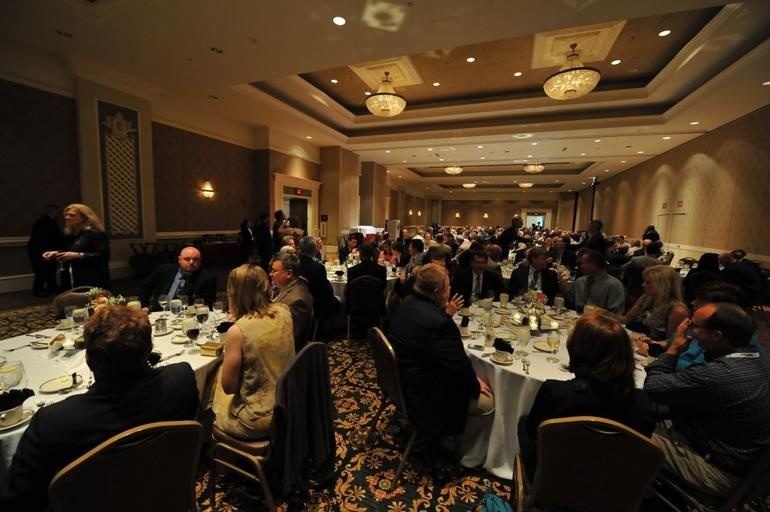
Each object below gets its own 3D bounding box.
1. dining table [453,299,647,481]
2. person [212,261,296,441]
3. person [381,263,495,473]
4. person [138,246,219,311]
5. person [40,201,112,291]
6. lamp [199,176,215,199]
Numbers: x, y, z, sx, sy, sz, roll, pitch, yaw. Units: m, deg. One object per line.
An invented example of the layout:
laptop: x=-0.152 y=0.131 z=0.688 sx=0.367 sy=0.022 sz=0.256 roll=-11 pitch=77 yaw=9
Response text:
dining table: x=1.353 y=1.426 z=4.388 sx=1.733 sy=0.946 sz=1.866 roll=3 pitch=1 yaw=5
person: x=-1.336 y=0.937 z=4.704 sx=0.765 sy=1.658 sz=0.414 roll=4 pitch=4 yaw=10
person: x=0.705 y=1.352 z=5.366 sx=1.421 sy=2.443 sz=1.037 roll=-9 pitch=16 yaw=-28
person: x=-2.973 y=0.331 z=6.620 sx=0.792 sy=1.357 sz=0.669 roll=4 pitch=-11 yaw=-20
person: x=-4.161 y=-0.088 z=6.481 sx=0.629 sy=1.125 sz=0.429 roll=2 pitch=4 yaw=-20
lamp: x=-4.111 y=-1.462 z=10.950 sx=0.101 sy=0.413 sz=0.440 roll=5 pitch=4 yaw=19
